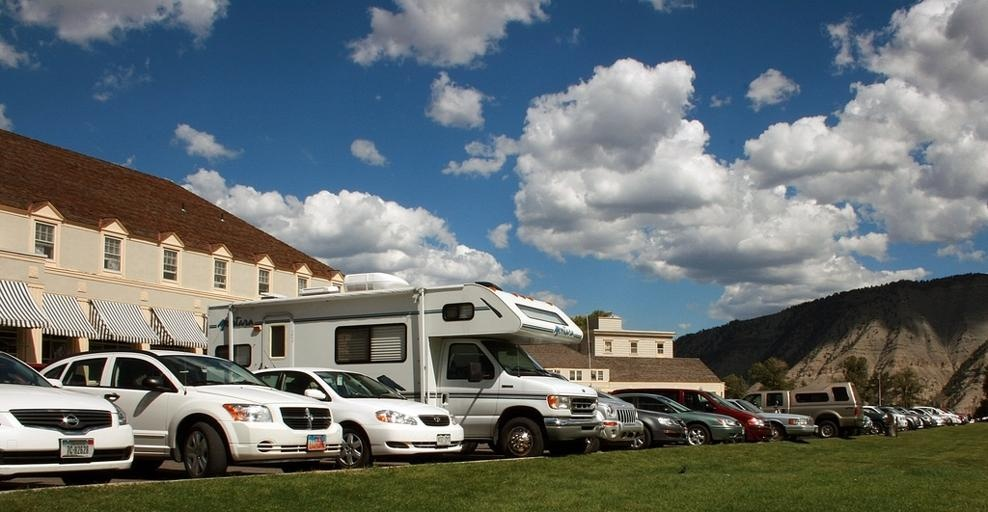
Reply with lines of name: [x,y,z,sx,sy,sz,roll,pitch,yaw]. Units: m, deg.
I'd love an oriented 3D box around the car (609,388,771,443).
car: [9.156,7.116,34.761,5.952,1.599,2.907,-2,-5,10]

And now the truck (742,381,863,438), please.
truck: [15.862,7.805,41.131,5.865,1.949,2.914,-1,-6,26]

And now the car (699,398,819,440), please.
car: [12.485,7.568,36.457,4.713,1.337,2.016,0,-7,12]

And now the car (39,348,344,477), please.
car: [-8.372,4.407,22.995,8.341,2.554,3.870,-5,-10,27]
